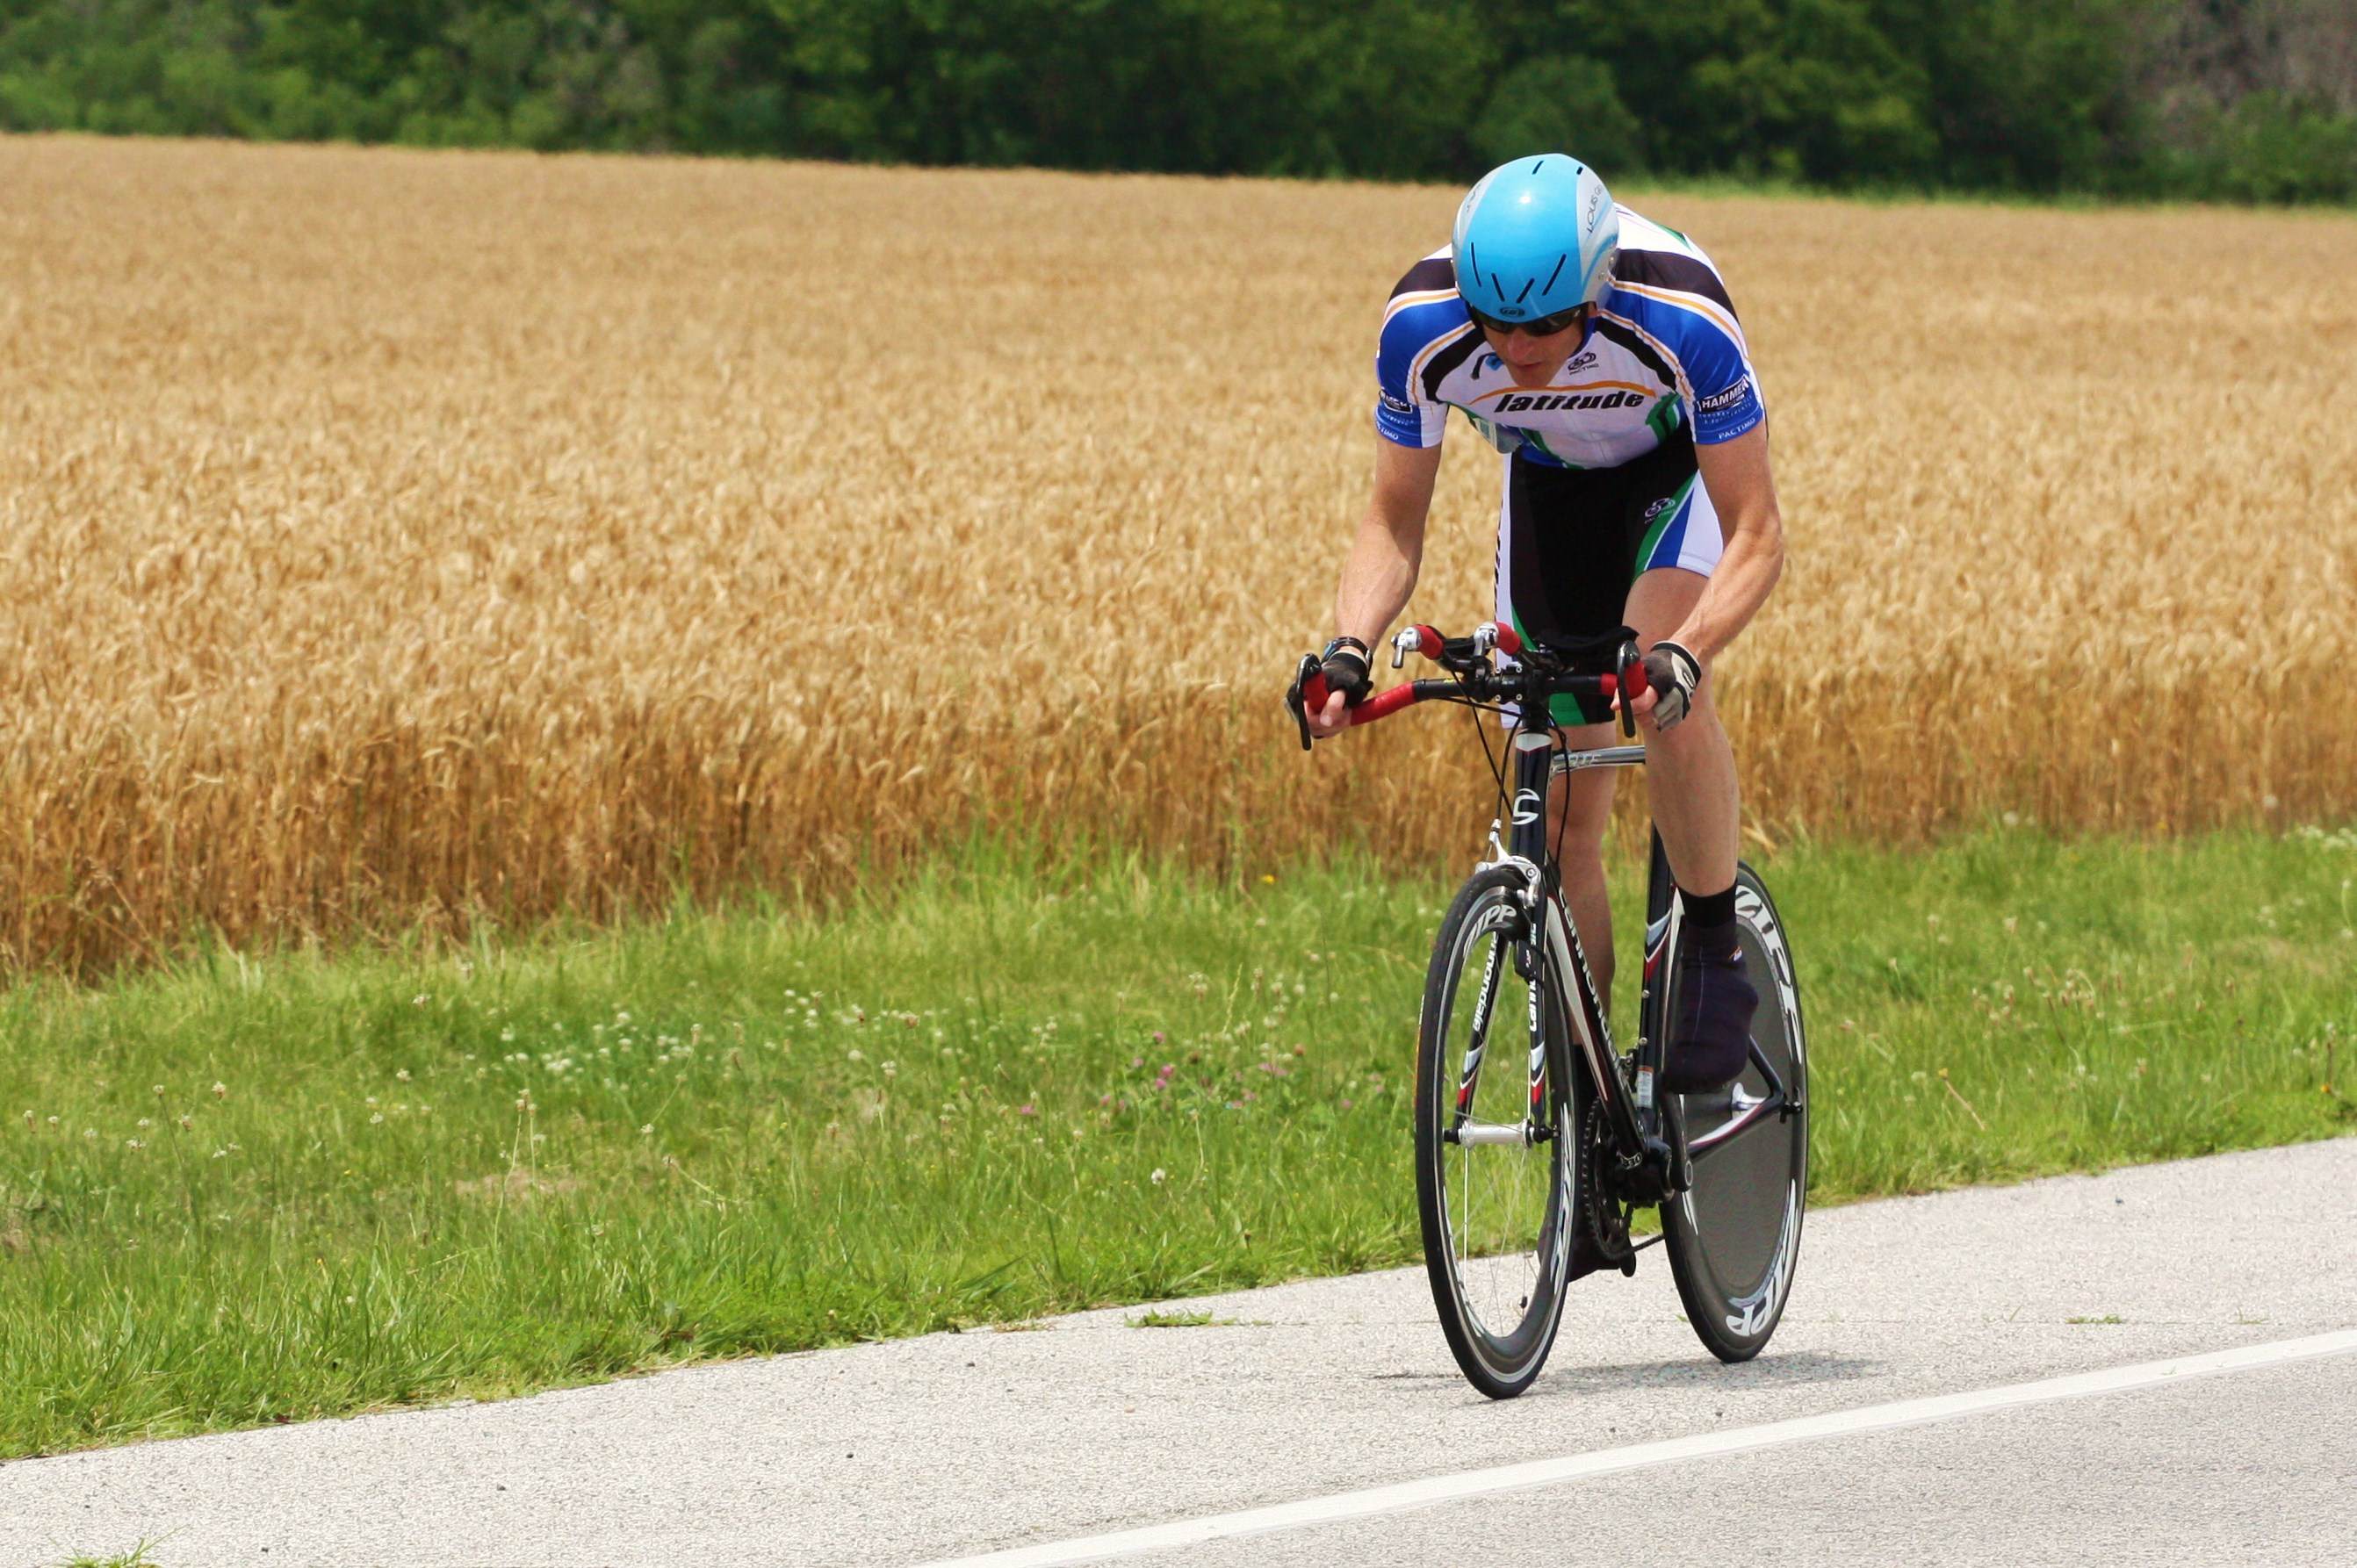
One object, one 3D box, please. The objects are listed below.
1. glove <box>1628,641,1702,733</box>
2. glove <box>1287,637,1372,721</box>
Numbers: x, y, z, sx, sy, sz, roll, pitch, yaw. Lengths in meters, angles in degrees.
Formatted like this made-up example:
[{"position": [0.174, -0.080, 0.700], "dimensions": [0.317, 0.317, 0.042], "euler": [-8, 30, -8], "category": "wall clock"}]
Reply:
[{"position": [2.336, -0.478, 21.750], "dimensions": [0.281, 0.384, 0.183], "euler": [12, 30, 28], "category": "glove"}, {"position": [0.733, -0.523, 21.925], "dimensions": [0.135, 0.367, 0.353], "euler": [-2, -25, 24], "category": "glove"}]
